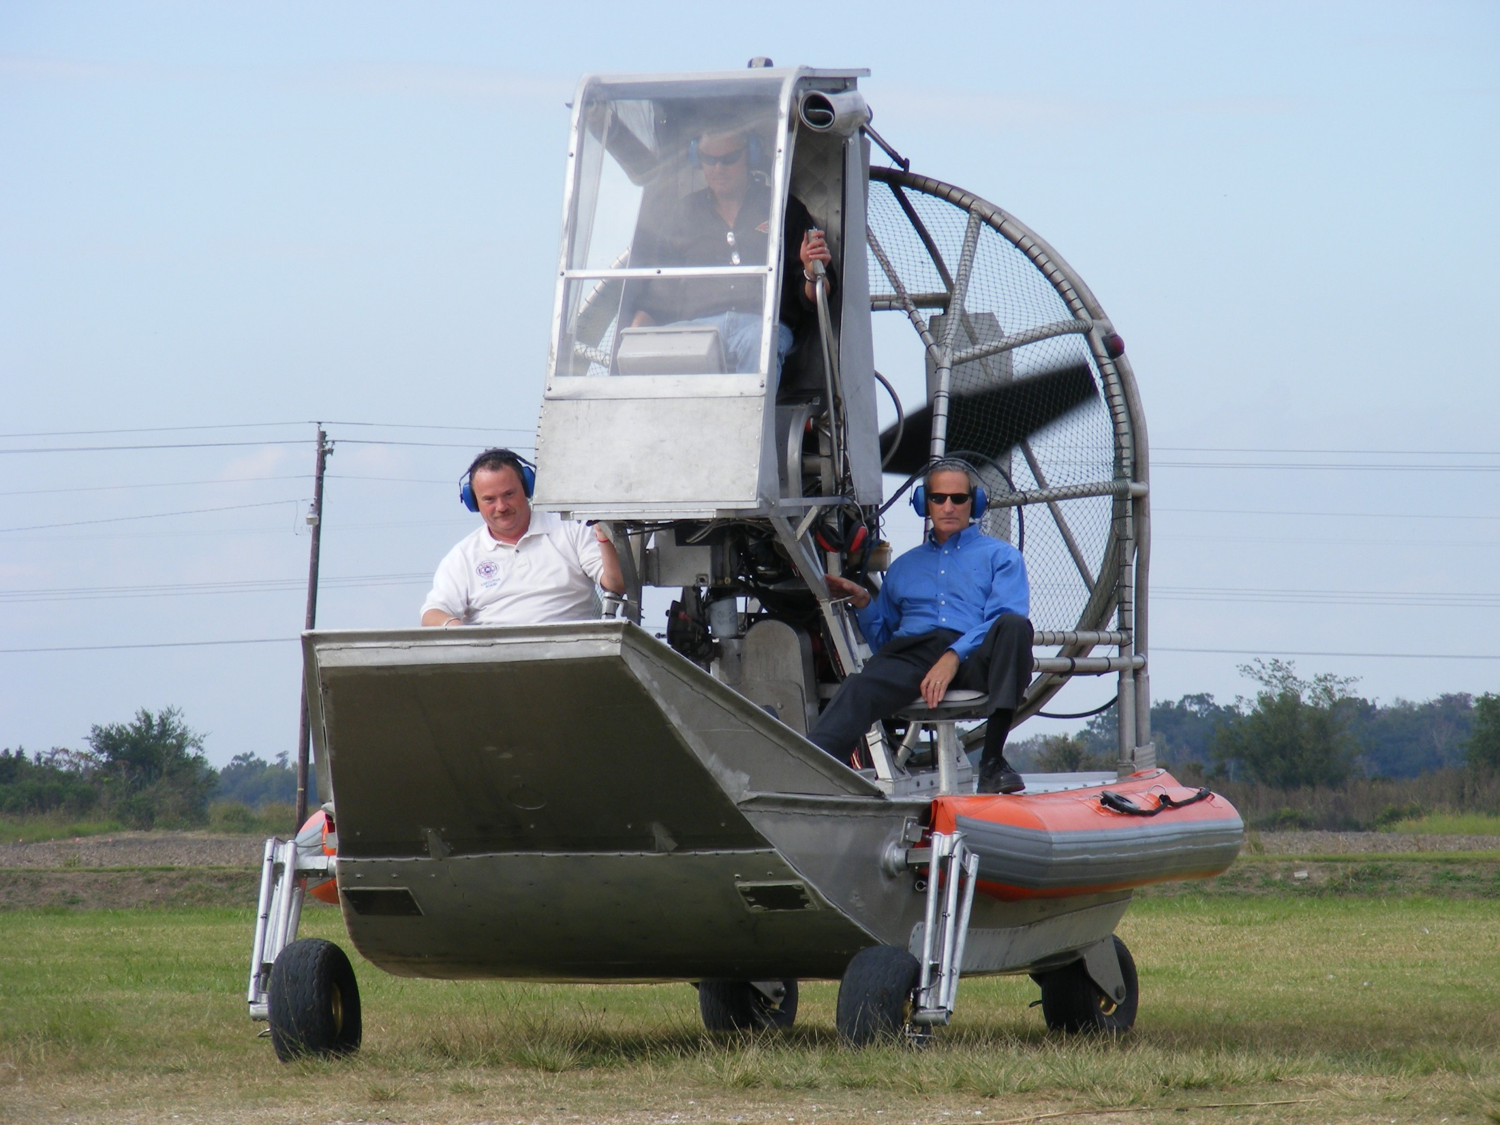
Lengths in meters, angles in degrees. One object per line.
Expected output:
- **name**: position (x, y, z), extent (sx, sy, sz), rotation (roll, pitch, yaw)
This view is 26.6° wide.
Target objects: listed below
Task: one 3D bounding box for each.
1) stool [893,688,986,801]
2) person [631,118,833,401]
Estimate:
- **stool**: position (1.217, 1.177, 20.499), extent (0.578, 0.639, 1.438), rotation (0, -3, 2)
- **person**: position (-0.079, -1.967, 19.972), extent (1.308, 1.806, 0.830), rotation (2, -4, -41)
